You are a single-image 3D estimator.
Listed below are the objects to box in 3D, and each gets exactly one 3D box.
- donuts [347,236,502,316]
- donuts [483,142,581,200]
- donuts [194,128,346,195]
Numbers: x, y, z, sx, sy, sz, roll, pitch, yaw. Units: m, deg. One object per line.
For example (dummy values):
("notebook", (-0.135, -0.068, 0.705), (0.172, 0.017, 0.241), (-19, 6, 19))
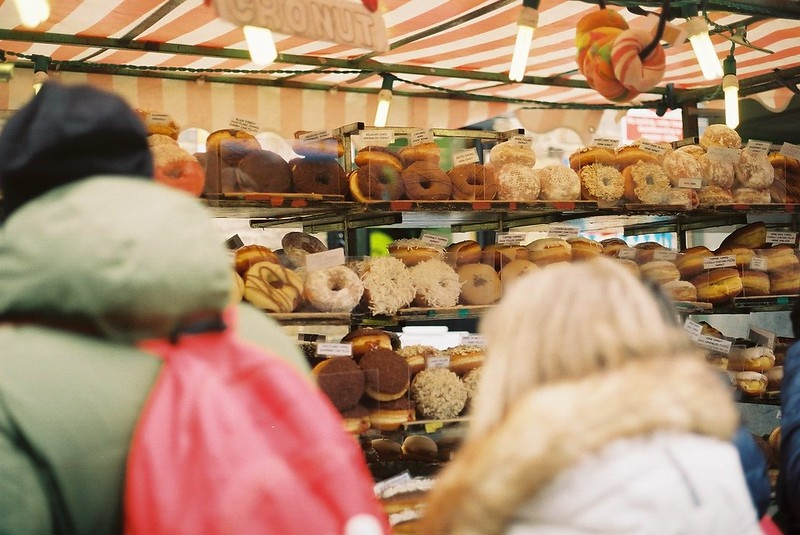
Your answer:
("donuts", (0.133, 0.048, 3.460), (0.523, 0.140, 0.525), (14, 20, 35))
("donuts", (0.693, -0.548, 3.794), (0.353, 0.171, 0.442), (-16, 45, -42))
("donuts", (-0.632, -0.470, 3.270), (0.474, 0.198, 0.450), (1, -2, -38))
